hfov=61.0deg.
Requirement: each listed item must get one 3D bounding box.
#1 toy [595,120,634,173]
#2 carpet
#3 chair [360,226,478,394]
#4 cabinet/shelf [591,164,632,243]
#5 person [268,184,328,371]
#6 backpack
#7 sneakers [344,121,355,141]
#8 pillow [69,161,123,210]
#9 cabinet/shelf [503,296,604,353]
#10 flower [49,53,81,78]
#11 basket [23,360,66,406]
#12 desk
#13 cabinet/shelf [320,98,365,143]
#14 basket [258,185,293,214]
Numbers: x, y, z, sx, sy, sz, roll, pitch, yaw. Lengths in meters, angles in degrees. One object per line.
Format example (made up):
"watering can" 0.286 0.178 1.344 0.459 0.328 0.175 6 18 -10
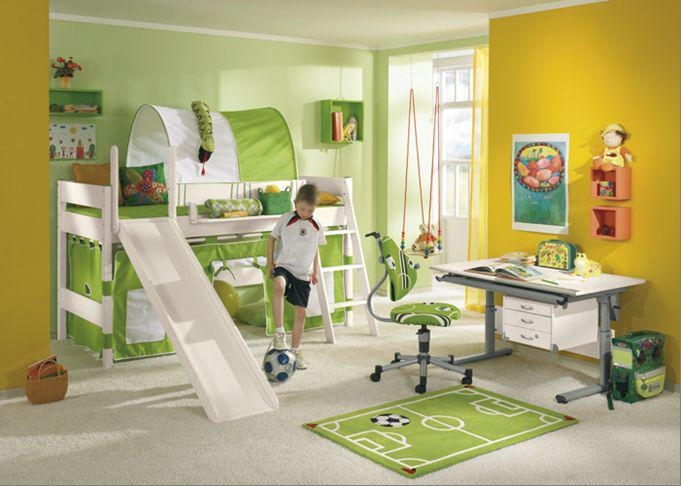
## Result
"toy" 2.318 -0.817 4.852 0.225 0.389 0.280 -8 12 -42
"carpet" 0.701 1.276 4.019 1.593 0.033 1.007 -6 10 -33
"chair" 0.714 0.544 5.308 1.242 1.495 1.191 0 3 21
"cabinet/shelf" 2.319 -0.343 4.904 0.347 0.630 0.195 8 12 41
"person" -0.397 0.313 5.011 0.461 1.626 0.570 -1 9 -7
"backpack" 2.382 0.977 4.540 0.503 0.470 0.222 -4 10 -22
"sneakers" 0.110 -1.432 7.347 0.142 0.244 0.269 3 6 24
"pillow" -2.552 -0.631 5.918 0.545 0.507 0.197 -9 0 -34
"cabinet/shelf" 1.788 0.585 4.776 0.560 0.320 0.527 -2 5 -35
"flower" -2.768 -1.779 5.788 0.287 0.220 0.129 -4 10 -24
"basket" -2.268 1.049 4.491 0.384 0.356 0.254 -3 9 -32
"desk" 1.743 0.417 4.969 1.108 1.005 1.761 -3 5 -34
"cabinet/shelf" 0.001 -1.554 7.302 0.211 0.500 0.611 2 5 44
"basket" -0.650 -0.406 5.923 0.434 0.287 0.238 -3 5 -38
